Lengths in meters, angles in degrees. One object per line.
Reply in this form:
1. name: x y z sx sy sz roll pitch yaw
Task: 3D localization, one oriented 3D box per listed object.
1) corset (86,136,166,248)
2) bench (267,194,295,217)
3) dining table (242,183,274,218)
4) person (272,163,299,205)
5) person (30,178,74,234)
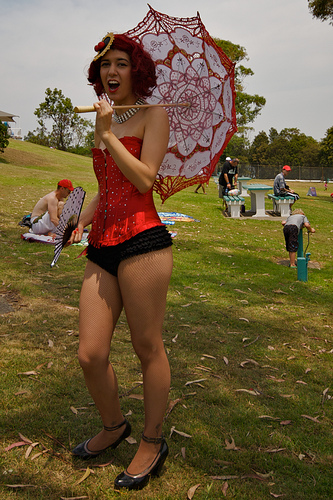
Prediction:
1. corset: -0.200 -0.231 2.063 0.513 0.520 0.311 -17 -21 42
2. bench: 4.898 -1.877 17.766 0.964 0.957 1.535 8 6 10
3. dining table: 4.016 -2.163 18.421 1.069 1.157 2.487 -3 9 5
4. person: 5.125 -2.625 17.905 1.228 1.882 0.902 1 11 -7
5. person: -2.233 -0.839 8.453 0.867 1.142 0.991 -4 18 -40
